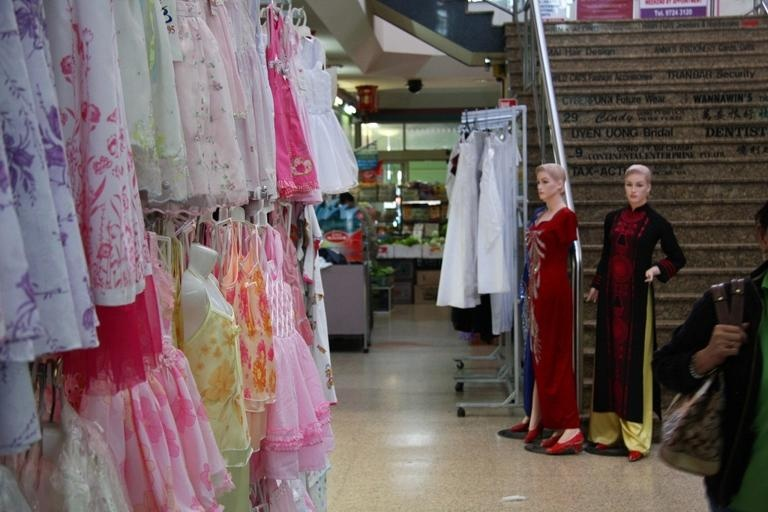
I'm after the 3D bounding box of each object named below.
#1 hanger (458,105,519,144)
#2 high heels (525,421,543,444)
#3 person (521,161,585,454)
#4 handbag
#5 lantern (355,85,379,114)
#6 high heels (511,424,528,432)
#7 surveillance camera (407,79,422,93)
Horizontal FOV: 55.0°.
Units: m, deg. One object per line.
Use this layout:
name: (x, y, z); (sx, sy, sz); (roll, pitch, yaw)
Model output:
hanger: (0.818, -1.019, 5.715); (0.200, 0.324, 0.647); (3, -4, -35)
high heels: (0.990, 1.178, 4.927); (0.061, 0.118, 0.213); (-11, -8, 29)
person: (1.078, 0.332, 4.738); (0.369, 1.821, 0.432); (-1, 7, 13)
handbag: (1.010, 0.482, 2.418); (0.176, 0.445, 0.197); (-7, 11, -29)
lantern: (-0.300, -2.690, 12.630); (0.406, 0.470, 0.431); (0, 2, -4)
high heels: (0.935, 1.184, 5.096); (0.107, 0.048, 0.042); (2, -2, -1)
surveillance camera: (0.504, -2.892, 12.579); (0.176, 0.189, 0.186); (11, 15, 34)
